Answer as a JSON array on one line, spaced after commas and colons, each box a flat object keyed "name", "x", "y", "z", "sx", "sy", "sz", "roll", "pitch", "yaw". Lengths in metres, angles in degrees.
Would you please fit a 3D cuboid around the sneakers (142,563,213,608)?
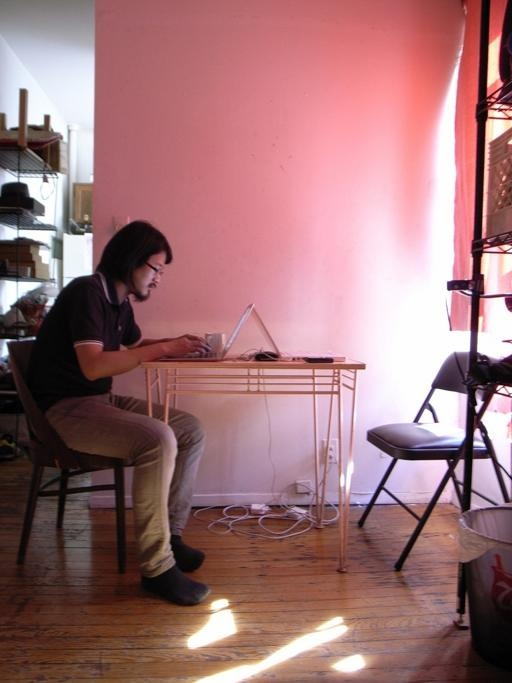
[{"name": "sneakers", "x": -0.264, "y": 0.801, "z": 2.012, "sx": 0.197, "sy": 0.082, "sz": 0.110, "roll": 1, "pitch": -4, "yaw": 16}]

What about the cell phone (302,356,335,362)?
[{"name": "cell phone", "x": 0.219, "y": 0.072, "z": 2.221, "sx": 0.111, "sy": 0.017, "sz": 0.088, "roll": 2, "pitch": 5, "yaw": 10}]

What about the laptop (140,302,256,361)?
[{"name": "laptop", "x": -0.195, "y": -0.012, "z": 2.396, "sx": 0.384, "sy": 0.263, "sz": 0.245, "roll": 0, "pitch": -3, "yaw": -7}]

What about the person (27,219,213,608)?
[{"name": "person", "x": -0.414, "y": 0.210, "z": 2.199, "sx": 0.693, "sy": 1.282, "sz": 0.512, "roll": 5, "pitch": 7, "yaw": 36}]

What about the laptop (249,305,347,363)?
[{"name": "laptop", "x": 0.159, "y": -0.022, "z": 2.337, "sx": 0.355, "sy": 0.193, "sz": 0.301, "roll": 2, "pitch": 6, "yaw": 13}]

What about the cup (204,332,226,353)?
[{"name": "cup", "x": -0.160, "y": 0.012, "z": 2.328, "sx": 0.085, "sy": 0.075, "sz": 0.054, "roll": -1, "pitch": -3, "yaw": 15}]
